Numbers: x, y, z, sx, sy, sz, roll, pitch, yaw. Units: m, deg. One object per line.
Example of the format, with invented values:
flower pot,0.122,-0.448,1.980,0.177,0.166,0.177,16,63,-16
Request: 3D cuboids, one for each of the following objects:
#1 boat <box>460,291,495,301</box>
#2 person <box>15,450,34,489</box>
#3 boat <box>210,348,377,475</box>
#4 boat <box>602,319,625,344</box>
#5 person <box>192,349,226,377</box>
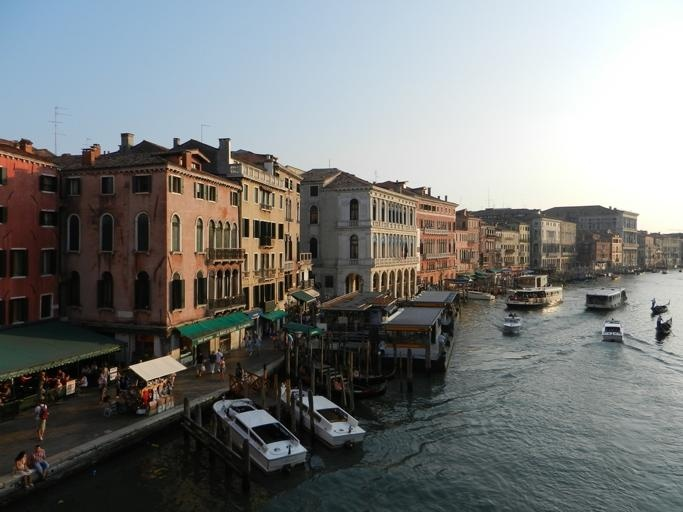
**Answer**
boat,22.652,6.583,102.402,4.070,1.005,2.135,4,3,25
person,-16.470,11.028,32.460,0.781,1.763,1.024,-7,16,-32
boat,-3.352,10.337,38.494,7.512,2.984,6.417,-4,15,-23
boat,29.087,8.098,67.309,1.851,1.900,5.754,-2,-1,18
person,-10.011,8.062,46.810,2.665,0.904,0.740,1,16,37
